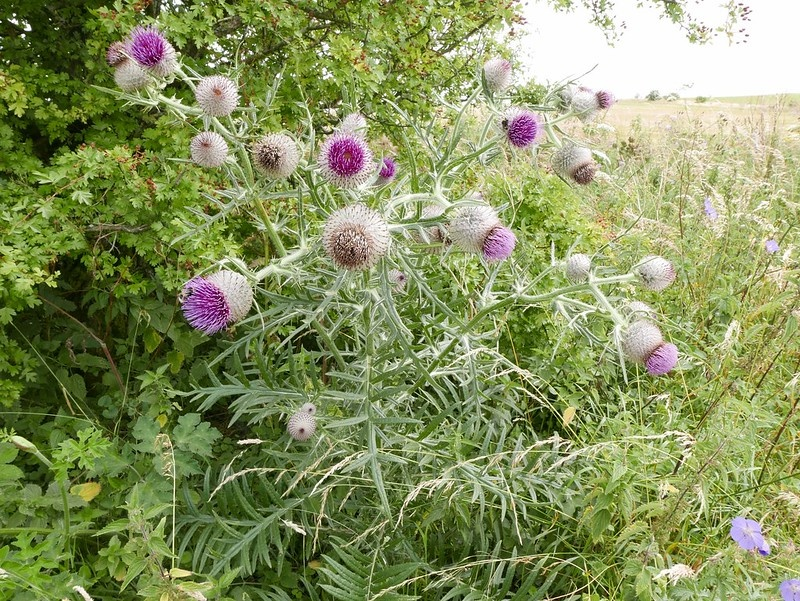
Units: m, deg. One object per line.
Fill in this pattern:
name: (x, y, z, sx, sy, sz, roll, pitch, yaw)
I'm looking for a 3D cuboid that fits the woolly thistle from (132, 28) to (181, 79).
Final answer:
woolly thistle: (-1.240, -1.243, 3.552, 0.257, 0.203, 0.192, 18, 13, -22)
